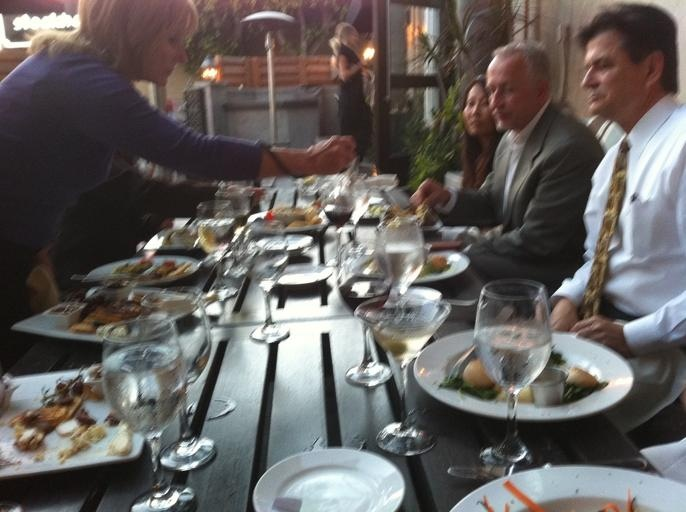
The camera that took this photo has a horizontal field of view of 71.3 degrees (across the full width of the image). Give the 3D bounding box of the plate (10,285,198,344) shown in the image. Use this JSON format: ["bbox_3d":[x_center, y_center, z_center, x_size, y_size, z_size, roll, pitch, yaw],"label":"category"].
[{"bbox_3d":[-0.536,0.097,1.125,0.329,0.050,0.258,-5,23,13],"label":"plate"}]

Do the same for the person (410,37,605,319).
[{"bbox_3d":[0.889,-0.154,2.529,0.859,1.653,0.771,-6,14,-6],"label":"person"}]

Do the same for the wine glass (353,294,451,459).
[{"bbox_3d":[0.103,0.204,0.826,0.171,0.227,0.176,0,7,33],"label":"wine glass"}]

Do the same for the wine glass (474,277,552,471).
[{"bbox_3d":[0.258,0.186,0.735,0.107,0.248,0.137,3,22,17],"label":"wine glass"}]
